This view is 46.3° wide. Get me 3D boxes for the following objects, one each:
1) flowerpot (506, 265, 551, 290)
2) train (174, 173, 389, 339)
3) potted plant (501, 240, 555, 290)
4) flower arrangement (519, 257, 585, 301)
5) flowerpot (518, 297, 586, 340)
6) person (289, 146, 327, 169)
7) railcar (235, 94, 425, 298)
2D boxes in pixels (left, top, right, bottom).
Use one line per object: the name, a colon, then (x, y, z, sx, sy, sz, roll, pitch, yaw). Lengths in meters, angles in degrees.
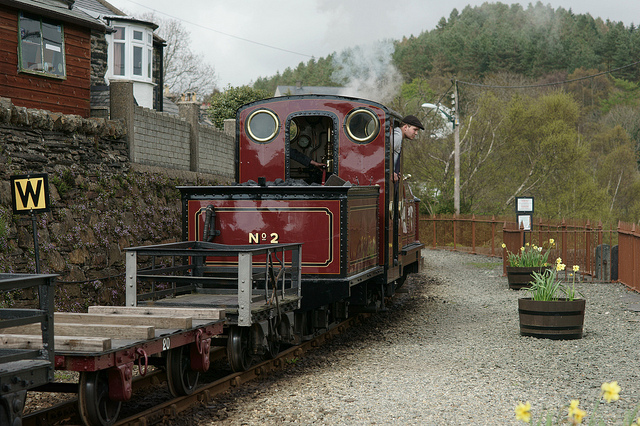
flowerpot: (5.517, 1.685, 20.128, 0.864, 0.513, 0.820, -1, -2, 15)
train: (-0.047, 0.670, 15.030, 2.363, 2.192, 4.269, -1, -2, 18)
potted plant: (5.680, 1.389, 20.379, 1.316, 1.430, 1.408, -4, -1, 31)
flower arrangement: (4.700, 1.494, 15.209, 1.186, 0.855, 1.214, 4, -3, -45)
flowerpot: (4.560, 2.153, 15.157, 1.138, 0.822, 1.211, -4, -5, 1)
person: (-0.247, -1.222, 16.392, 0.847, 0.224, 0.203, 29, -19, 9)
railcar: (0.396, -0.652, 16.724, 3.625, 3.501, 8.943, 0, -1, 13)
